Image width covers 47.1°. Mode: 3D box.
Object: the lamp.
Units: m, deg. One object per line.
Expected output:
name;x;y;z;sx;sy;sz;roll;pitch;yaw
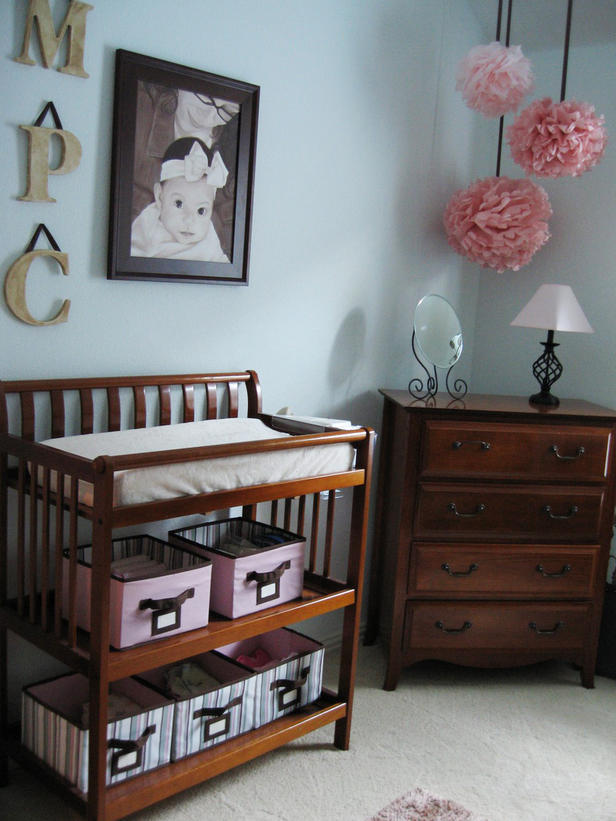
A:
lamp;0.826;-0.238;2.391;0.244;0.434;0.490;5;5;21

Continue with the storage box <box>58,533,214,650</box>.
storage box;-0.371;0.343;1.409;0.258;0.120;0.194;6;7;45

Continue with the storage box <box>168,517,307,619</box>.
storage box;-0.168;0.348;1.630;0.207;0.130;0.213;8;9;44

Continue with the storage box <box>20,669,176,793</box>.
storage box;-0.438;0.593;1.401;0.262;0.107;0.187;4;3;40

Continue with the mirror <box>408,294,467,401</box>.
mirror;0.448;-0.216;2.435;0.206;0.345;0.667;5;4;11

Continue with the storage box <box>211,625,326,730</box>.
storage box;-0.090;0.634;1.750;0.202;0.126;0.197;-5;6;-40

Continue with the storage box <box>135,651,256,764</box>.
storage box;-0.242;0.634;1.566;0.184;0.114;0.180;-4;6;-40
